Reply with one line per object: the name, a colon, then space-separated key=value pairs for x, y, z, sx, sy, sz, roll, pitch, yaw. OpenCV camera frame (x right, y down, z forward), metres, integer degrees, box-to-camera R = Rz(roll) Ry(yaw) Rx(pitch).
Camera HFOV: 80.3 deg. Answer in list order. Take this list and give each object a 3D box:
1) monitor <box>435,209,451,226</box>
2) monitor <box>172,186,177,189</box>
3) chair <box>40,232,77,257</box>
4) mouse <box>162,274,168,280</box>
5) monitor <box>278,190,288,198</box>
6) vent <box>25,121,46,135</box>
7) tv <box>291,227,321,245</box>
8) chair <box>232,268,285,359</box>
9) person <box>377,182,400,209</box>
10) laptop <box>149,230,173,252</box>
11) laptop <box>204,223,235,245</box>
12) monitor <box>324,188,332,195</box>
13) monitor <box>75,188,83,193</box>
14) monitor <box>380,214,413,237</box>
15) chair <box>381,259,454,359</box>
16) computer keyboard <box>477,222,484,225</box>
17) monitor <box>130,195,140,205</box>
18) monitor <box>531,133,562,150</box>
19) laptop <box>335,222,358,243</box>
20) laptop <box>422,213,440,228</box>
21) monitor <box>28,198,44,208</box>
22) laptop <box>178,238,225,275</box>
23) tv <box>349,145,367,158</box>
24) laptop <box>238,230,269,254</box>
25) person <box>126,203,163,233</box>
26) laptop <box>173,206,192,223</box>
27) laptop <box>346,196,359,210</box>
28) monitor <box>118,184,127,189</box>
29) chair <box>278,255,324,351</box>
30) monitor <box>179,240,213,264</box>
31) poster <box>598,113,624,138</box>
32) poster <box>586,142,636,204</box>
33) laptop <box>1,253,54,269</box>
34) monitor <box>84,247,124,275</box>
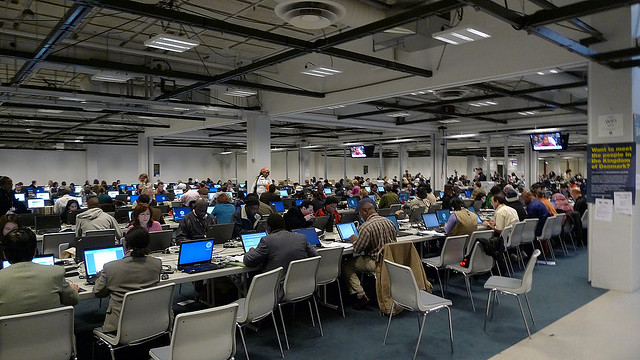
monitor: x=3.320 y=0.959 z=10.270 sx=0.616 sy=0.375 sz=0.381 roll=2 pitch=-4 yaw=-37
monitor: x=-8.937 y=0.408 z=23.268 sx=0.219 sy=0.353 sz=0.203 roll=1 pitch=1 yaw=-15
chair: x=-5.858 y=1.442 z=8.485 sx=0.653 sy=0.615 sz=0.482 roll=-3 pitch=0 yaw=-22
mouse: x=-2.652 y=1.646 z=6.492 sx=0.082 sy=0.081 sz=0.151 roll=-3 pitch=0 yaw=-23
monitor: x=-1.575 y=0.566 z=16.642 sx=0.416 sy=0.344 sz=0.271 roll=6 pitch=-13 yaw=-36
vent: x=-15.476 y=-2.920 z=20.758 sx=0.839 sy=0.828 sz=1.998 roll=-3 pitch=0 yaw=-34
tv: x=-0.299 y=1.197 z=8.210 sx=0.545 sy=0.309 sz=0.349 roll=2 pitch=-16 yaw=-37
chair: x=-1.016 y=2.250 z=6.486 sx=0.798 sy=1.469 sz=0.706 roll=-3 pitch=1 yaw=-10
person: x=2.124 y=0.515 z=12.499 sx=0.845 sy=1.077 sz=0.743 roll=-2 pitch=2 yaw=-18
laptop: x=-3.318 y=1.241 z=7.935 sx=0.380 sy=0.333 sz=0.531 roll=15 pitch=12 yaw=43
laptop: x=-2.257 y=1.152 z=8.502 sx=0.433 sy=0.380 sz=0.609 roll=18 pitch=13 yaw=42
monitor: x=0.353 y=0.496 z=17.792 sx=0.244 sy=0.207 sz=0.345 roll=-6 pitch=-9 yaw=36
monitor: x=-12.470 y=0.494 z=19.538 sx=0.507 sy=0.297 sz=0.258 roll=1 pitch=7 yaw=-2
monitor: x=1.972 y=1.110 z=9.465 sx=0.523 sy=0.435 sz=1.016 roll=-3 pitch=0 yaw=-5
chair: x=1.734 y=2.185 z=6.756 sx=1.170 sy=1.390 sz=1.018 roll=-3 pitch=1 yaw=38
computer keyboard: x=4.165 y=1.123 z=9.870 sx=0.148 sy=0.031 sz=0.138 roll=-1 pitch=-1 yaw=-2
monitor: x=-6.503 y=0.676 z=13.311 sx=0.066 sy=0.316 sz=0.494 roll=-10 pitch=-5 yaw=34
monitor: x=10.909 y=-1.912 z=18.232 sx=0.101 sy=0.615 sz=0.982 roll=-24 pitch=19 yaw=-39
laptop: x=0.628 y=1.150 z=8.688 sx=0.587 sy=0.332 sz=0.399 roll=-2 pitch=-13 yaw=-41
laptop: x=2.903 y=1.048 z=9.942 sx=0.435 sy=0.386 sz=0.048 roll=-2 pitch=-21 yaw=-24
monitor: x=-10.709 y=0.855 z=14.315 sx=0.476 sy=0.401 sz=0.546 roll=-3 pitch=0 yaw=-34
laptop: x=-2.195 y=1.382 z=6.944 sx=0.820 sy=0.489 sz=0.576 roll=1 pitch=2 yaw=-41
tv: x=2.654 y=-2.047 z=26.155 sx=0.984 sy=0.869 sz=0.100 roll=-12 pitch=-1 yaw=32
laptop: x=-1.282 y=1.178 z=7.558 sx=0.671 sy=0.355 sz=0.482 roll=-2 pitch=-5 yaw=-33
person: x=-3.730 y=0.807 z=8.055 sx=0.785 sy=0.617 sz=0.434 roll=-3 pitch=0 yaw=-41
laptop: x=-3.722 y=0.912 z=10.236 sx=0.515 sy=0.315 sz=0.345 roll=3 pitch=-5 yaw=-35
laptop: x=1.150 y=0.810 z=13.446 sx=0.497 sy=0.374 sz=0.154 roll=3 pitch=-12 yaw=-31
monitor: x=-11.498 y=0.346 z=22.056 sx=0.313 sy=0.190 sz=0.213 roll=4 pitch=-11 yaw=-38
chair: x=-0.339 y=2.164 z=7.146 sx=0.838 sy=1.544 sz=1.131 roll=-3 pitch=1 yaw=-1
monitor: x=-2.313 y=1.329 z=7.079 sx=0.543 sy=0.320 sz=0.376 roll=2 pitch=-2 yaw=-36
poster: x=6.420 y=-1.216 z=8.349 sx=0.082 sy=0.571 sz=0.629 roll=1 pitch=-1 yaw=-44
poster: x=6.439 y=-0.165 z=8.413 sx=0.886 sy=1.377 sz=0.134 roll=-3 pitch=1 yaw=30
laptop: x=-4.391 y=1.201 z=5.656 sx=0.314 sy=0.256 sz=0.450 roll=-6 pitch=-6 yaw=37
monitor: x=-3.743 y=1.328 z=6.557 sx=0.655 sy=0.388 sz=0.432 roll=-4 pitch=18 yaw=-37
